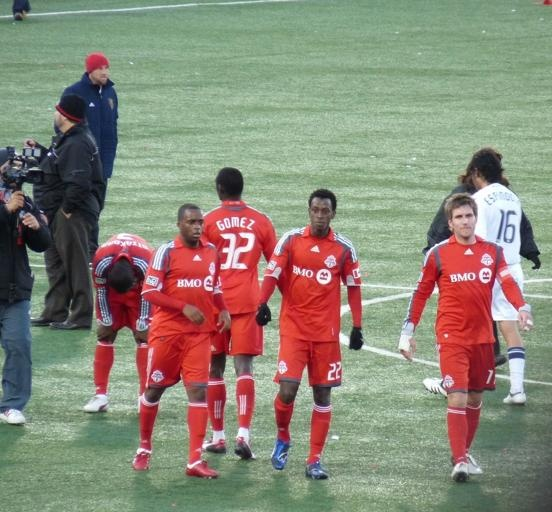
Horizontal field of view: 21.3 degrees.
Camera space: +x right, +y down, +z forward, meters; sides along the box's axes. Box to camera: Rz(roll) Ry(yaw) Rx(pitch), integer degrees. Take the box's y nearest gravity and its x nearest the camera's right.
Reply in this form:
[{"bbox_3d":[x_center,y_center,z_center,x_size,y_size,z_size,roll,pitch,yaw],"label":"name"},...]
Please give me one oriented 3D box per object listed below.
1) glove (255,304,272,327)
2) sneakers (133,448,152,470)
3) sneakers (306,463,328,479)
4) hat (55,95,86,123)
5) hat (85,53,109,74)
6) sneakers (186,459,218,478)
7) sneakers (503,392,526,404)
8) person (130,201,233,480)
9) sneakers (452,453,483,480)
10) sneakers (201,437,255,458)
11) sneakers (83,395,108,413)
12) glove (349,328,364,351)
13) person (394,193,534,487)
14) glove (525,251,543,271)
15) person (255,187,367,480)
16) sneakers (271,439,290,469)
[{"bbox_3d":[-0.134,0.546,13.371,0.150,0.177,0.068,6,-7,-31],"label":"glove"},{"bbox_3d":[-1.257,1.843,13.298,0.174,0.186,0.267,0,6,-6],"label":"sneakers"},{"bbox_3d":[0.341,1.959,13.213,0.124,0.093,0.201,1,-2,-10],"label":"sneakers"},{"bbox_3d":[-2.303,-1.638,16.076,0.318,0.310,0.278,0,6,-9],"label":"hat"},{"bbox_3d":[-2.207,-2.341,17.578,0.254,0.247,0.491,0,6,-5],"label":"hat"},{"bbox_3d":[-0.690,1.920,13.117,0.274,0.118,0.143,2,14,9],"label":"sneakers"},{"bbox_3d":[2.402,1.444,14.781,0.103,0.102,0.243,-7,8,-30],"label":"sneakers"},{"bbox_3d":[-0.905,0.738,13.344,0.853,2.426,0.875,1,6,-2],"label":"person"},{"bbox_3d":[1.745,1.916,13.257,0.193,0.226,0.443,5,7,34],"label":"sneakers"},{"bbox_3d":[-0.479,1.770,13.647,0.545,0.208,0.192,4,3,30],"label":"sneakers"},{"bbox_3d":[-1.822,1.458,14.411,0.245,0.157,0.223,0,6,-7],"label":"sneakers"},{"bbox_3d":[0.722,0.774,13.464,0.166,0.192,0.092,9,6,-16],"label":"glove"},{"bbox_3d":[1.718,0.730,13.358,0.859,2.566,0.895,-4,8,-36],"label":"person"},{"bbox_3d":[3.028,0.062,17.167,0.229,0.262,0.100,-12,-17,-1],"label":"glove"},{"bbox_3d":[0.299,0.681,13.400,0.947,2.583,0.686,1,6,1],"label":"person"},{"bbox_3d":[0.024,1.843,13.422,0.121,0.295,0.131,9,-15,-16],"label":"sneakers"}]
